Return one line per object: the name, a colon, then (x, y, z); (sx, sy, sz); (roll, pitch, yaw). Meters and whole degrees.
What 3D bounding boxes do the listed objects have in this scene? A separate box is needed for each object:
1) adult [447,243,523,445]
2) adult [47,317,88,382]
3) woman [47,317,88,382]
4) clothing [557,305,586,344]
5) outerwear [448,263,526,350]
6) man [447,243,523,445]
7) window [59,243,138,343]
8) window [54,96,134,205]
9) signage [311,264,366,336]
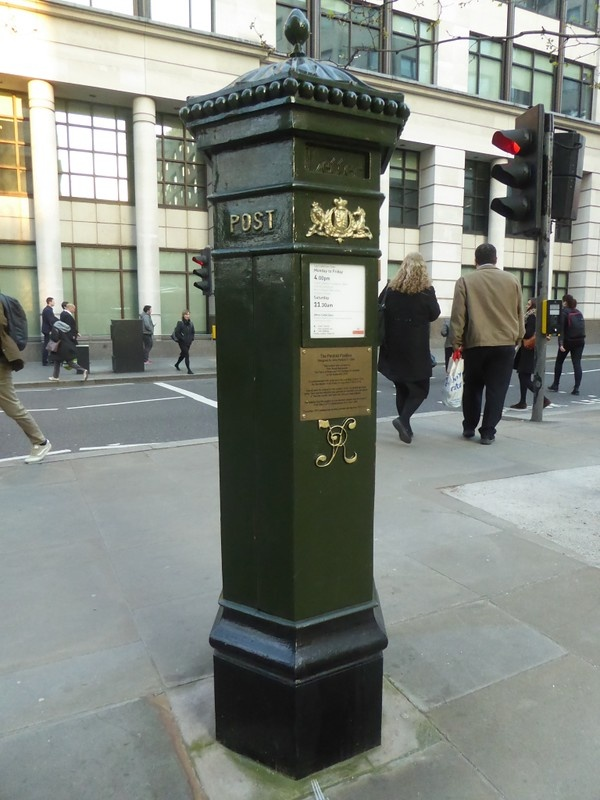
adult: (1.722, -0.537, 7.032); (0.593, 1.762, 0.544); (3, 11, 13)
adult: (-4.461, -0.962, 14.699); (0.710, 1.153, 0.966); (-3, 10, -17)
woman: (-4.460, -0.962, 14.699); (0.710, 1.153, 0.966); (-3, 10, -16)
clothing: (4.449, -1.208, 12.520); (0.355, 0.600, 0.787); (3, 10, 19)
outerwear: (1.692, -0.830, 6.915); (0.662, 0.739, 0.386); (-2, -3, -8)
man: (1.707, -0.502, 7.002); (0.633, 1.768, 0.472); (0, 12, 1)
window: (-5.487, -3.023, 21.244); (2.019, 2.446, 0.449); (-8, 12, -38)
window: (-5.653, -6.788, 20.693); (2.797, 3.135, 0.135); (-6, 5, -42)
signage: (0.106, -0.304, 2.279); (0.210, 0.239, 0.023); (-3, 4, -34)
